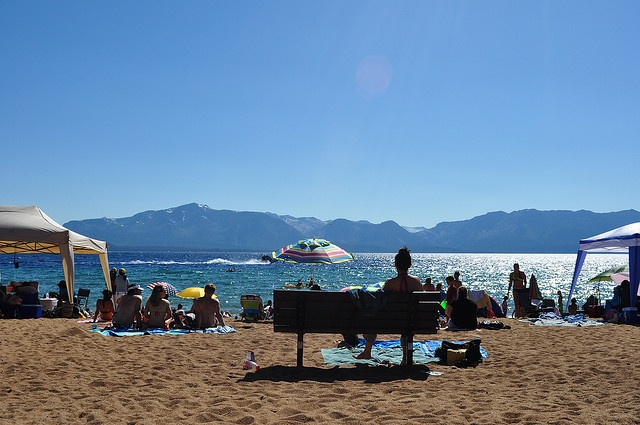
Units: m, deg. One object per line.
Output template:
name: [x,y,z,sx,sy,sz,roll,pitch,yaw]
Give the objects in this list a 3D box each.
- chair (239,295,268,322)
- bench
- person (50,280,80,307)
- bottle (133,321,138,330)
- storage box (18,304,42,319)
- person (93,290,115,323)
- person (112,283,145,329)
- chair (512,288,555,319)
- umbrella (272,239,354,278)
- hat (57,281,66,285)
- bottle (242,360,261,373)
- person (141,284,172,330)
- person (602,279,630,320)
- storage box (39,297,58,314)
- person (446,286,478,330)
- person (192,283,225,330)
chair: [-2.353,3.377,20.076,0.961,0.844,1.391,1,-16,-3]
bench: [0.729,2.333,11.926,3.241,1.553,1.133,1,2,1]
person: [-8.483,2.595,18.916,0.489,0.767,2.157,2,-4,-25]
bottle: [-4.656,2.833,14.602,0.087,0.196,0.152,2,-4,-27]
storage box: [-8.410,2.870,16.792,0.434,0.330,0.441,-1,-2,39]
person: [-6.172,2.647,16.562,0.549,0.872,0.720,2,-4,-21]
person: [-4.906,2.409,14.800,0.714,1.055,0.585,2,-4,-19]
chair: [7.269,3.123,19.554,0.896,0.990,1.315,2,1,-32]
umbrella: [-0.151,1.009,15.494,2.048,0.758,2.086,3,5,13]
hat: [-8.631,2.386,19.469,0.340,0.081,0.333,-2,4,-39]
bottle: [-1.363,3.012,11.460,0.337,0.198,0.346,0,-4,0]
person: [-4.139,2.404,14.800,0.728,1.121,1.106,1,-4,-15]
person: [9.027,2.654,17.621,0.694,1.160,2.414,-2,-4,28]
storage box: [-8.177,2.767,17.446,0.390,0.279,0.397,-3,-5,44]
person: [3.534,2.429,14.442,0.683,1.218,1.820,-1,-4,13]
person: [-2.858,2.433,15.126,0.788,1.174,1.086,2,-4,-28]
